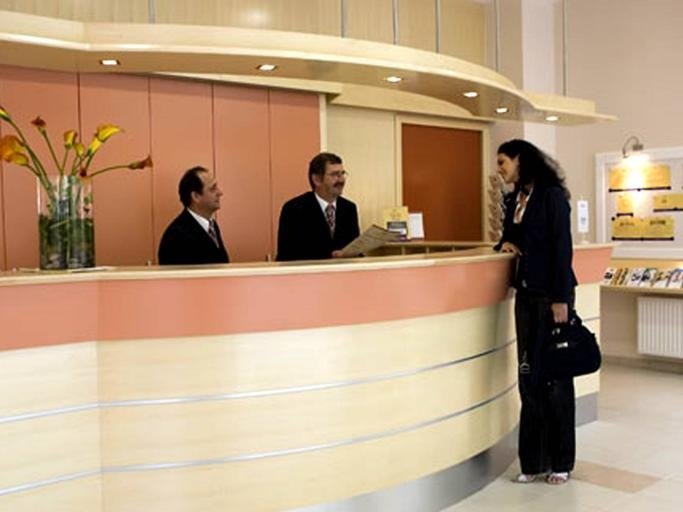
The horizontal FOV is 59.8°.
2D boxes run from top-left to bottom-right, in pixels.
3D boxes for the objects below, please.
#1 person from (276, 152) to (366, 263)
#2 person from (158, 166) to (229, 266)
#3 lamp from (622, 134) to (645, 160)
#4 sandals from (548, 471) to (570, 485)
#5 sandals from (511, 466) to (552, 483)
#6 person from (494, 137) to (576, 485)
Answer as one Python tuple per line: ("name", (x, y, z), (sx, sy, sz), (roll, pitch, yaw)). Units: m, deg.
("person", (-0.194, -0.402, 4.755), (0.676, 0.826, 0.293), (-3, 7, -11))
("person", (-1.127, -0.285, 4.608), (0.458, 0.797, 0.886), (1, 12, 3))
("lamp", (3.432, -1.298, 7.023), (0.301, 0.304, 0.167), (-12, 15, -39))
("sandals", (1.516, 1.554, 4.193), (0.071, 0.063, 0.150), (-3, -7, 40))
("sandals", (1.351, 1.563, 4.250), (0.294, 0.116, 0.100), (3, -6, -22))
("person", (1.371, 0.383, 4.230), (0.440, 2.410, 0.558), (-8, 9, -43))
